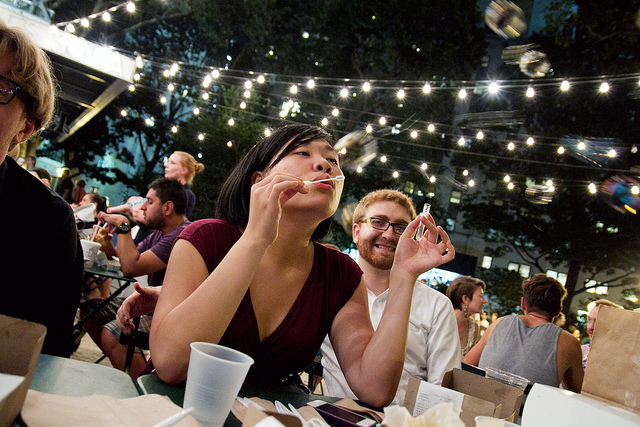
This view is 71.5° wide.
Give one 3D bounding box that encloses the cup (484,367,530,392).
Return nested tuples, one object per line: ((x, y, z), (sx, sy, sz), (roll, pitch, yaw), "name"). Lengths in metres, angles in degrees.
((0.883, 0.772, 2.104), (0.144, 0.063, 0.139), (20, -23, 9), "cup")

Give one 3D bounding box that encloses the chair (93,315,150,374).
((-1.613, 1.052, 3.694), (0.388, 0.524, 0.387), (-34, -42, 27), "chair")

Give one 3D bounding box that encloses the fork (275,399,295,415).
((-0.140, 0.755, 1.739), (0.068, 0.027, 0.100), (18, -11, -25), "fork")

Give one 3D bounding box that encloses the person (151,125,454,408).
((-0.088, 0.189, 2.212), (1.200, 1.368, 0.523), (16, -9, -16), "person")

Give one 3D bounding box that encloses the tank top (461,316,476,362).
((1.916, 1.561, 5.685), (0.121, 0.513, 0.884), (10, -10, 21), "tank top")

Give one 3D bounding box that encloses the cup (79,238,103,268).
((-2.171, 0.366, 4.141), (0.192, 0.215, 0.204), (6, -17, 2), "cup")
